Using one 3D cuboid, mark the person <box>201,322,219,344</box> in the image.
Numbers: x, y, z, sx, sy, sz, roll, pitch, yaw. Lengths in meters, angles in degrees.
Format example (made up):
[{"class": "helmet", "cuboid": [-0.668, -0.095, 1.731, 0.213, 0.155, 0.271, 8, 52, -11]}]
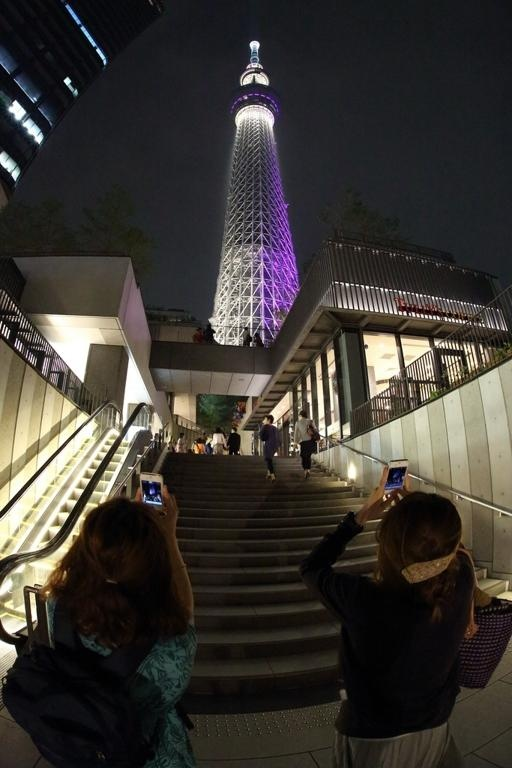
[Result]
[{"class": "person", "cuboid": [-2.032, -2.103, 17.826, 0.558, 0.990, 0.713, 13, -18, -37]}]
